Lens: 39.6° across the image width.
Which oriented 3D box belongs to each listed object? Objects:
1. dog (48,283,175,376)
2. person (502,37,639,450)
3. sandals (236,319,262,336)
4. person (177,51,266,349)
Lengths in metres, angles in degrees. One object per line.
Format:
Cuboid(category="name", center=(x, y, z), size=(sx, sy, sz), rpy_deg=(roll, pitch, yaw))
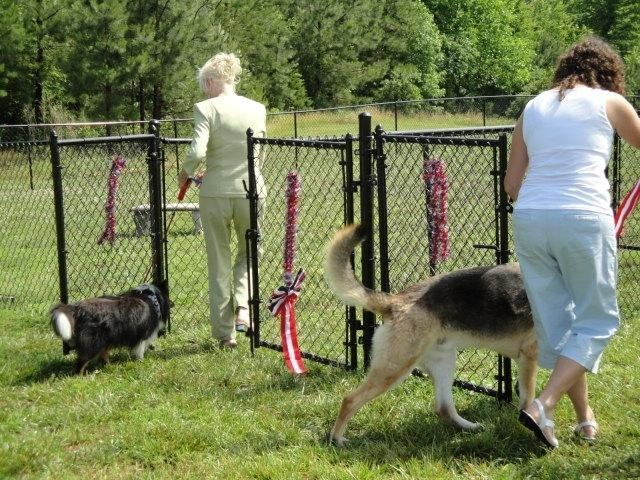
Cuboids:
Cuboid(category="dog", center=(-2.007, 0.924, 8.963), size=(1.466, 0.954, 0.561), rpy_deg=(1, -8, -40))
Cuboid(category="person", center=(2.024, 0.027, 7.165), size=(0.952, 3.296, 0.829), rpy_deg=(2, 9, -1))
Cuboid(category="sandals", center=(-0.720, 0.915, 9.203), size=(0.118, 0.151, 0.335), rpy_deg=(2, -2, -35))
Cuboid(category="person", center=(-0.980, -0.396, 9.212), size=(0.856, 3.015, 0.665), rpy_deg=(2, 9, -5))
